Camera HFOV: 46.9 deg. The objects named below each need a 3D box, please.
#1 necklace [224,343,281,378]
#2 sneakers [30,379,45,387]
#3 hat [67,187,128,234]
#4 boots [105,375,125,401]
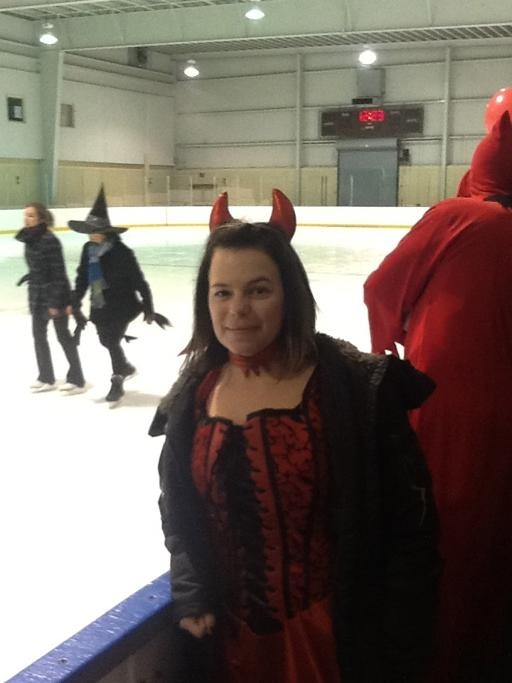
[{"bbox_3d":[0.000,0.028,0.841,0.052,0.032,0.050,-13,-2,15],"label":"necklace"},{"bbox_3d":[-1.722,0.328,4.657,0.060,0.042,0.110,-4,-9,-14],"label":"sneakers"},{"bbox_3d":[-1.145,-0.901,4.289,0.404,0.316,0.425,2,8,-6],"label":"hat"},{"bbox_3d":[-1.028,0.339,4.279,0.140,0.196,0.139,-6,13,-19],"label":"boots"}]
